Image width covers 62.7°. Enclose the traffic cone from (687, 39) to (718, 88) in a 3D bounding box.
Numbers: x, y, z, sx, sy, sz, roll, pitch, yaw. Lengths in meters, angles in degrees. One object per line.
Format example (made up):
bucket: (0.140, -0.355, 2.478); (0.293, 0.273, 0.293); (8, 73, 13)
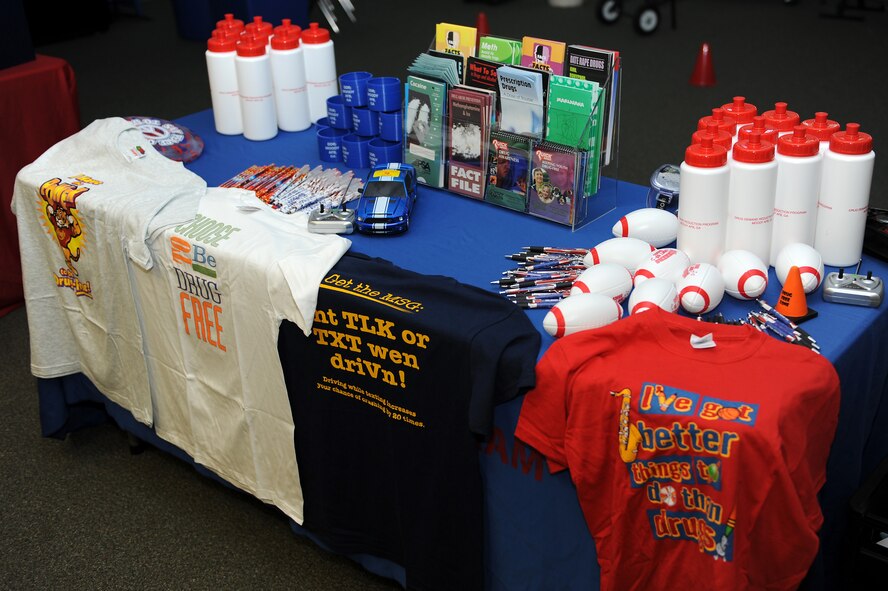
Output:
traffic cone: (2.138, -1.868, 5.996); (0.203, 0.394, 0.221); (-19, 36, -21)
